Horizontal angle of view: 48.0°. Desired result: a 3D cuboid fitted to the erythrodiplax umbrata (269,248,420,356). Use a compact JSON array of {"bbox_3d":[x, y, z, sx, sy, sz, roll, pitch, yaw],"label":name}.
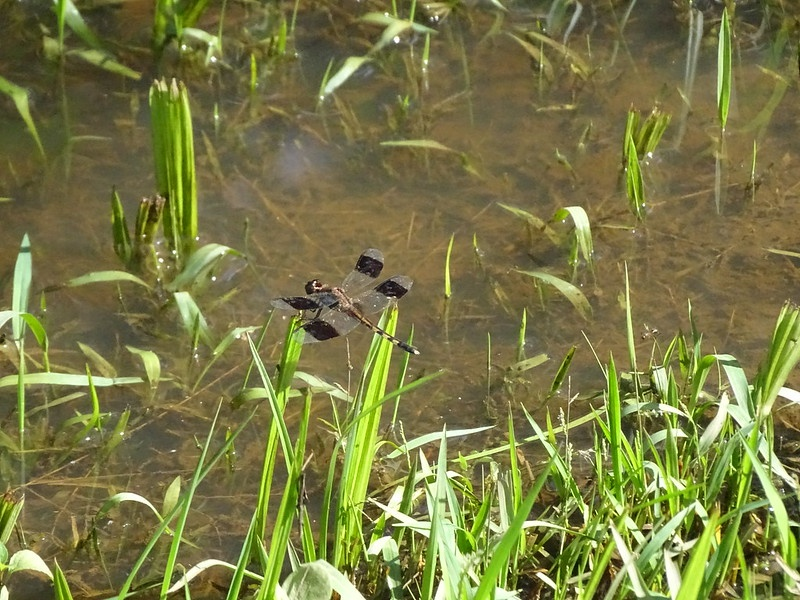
[{"bbox_3d":[-0.222,0.008,3.817,0.481,0.201,0.488,39,51,21],"label":"erythrodiplax umbrata"}]
